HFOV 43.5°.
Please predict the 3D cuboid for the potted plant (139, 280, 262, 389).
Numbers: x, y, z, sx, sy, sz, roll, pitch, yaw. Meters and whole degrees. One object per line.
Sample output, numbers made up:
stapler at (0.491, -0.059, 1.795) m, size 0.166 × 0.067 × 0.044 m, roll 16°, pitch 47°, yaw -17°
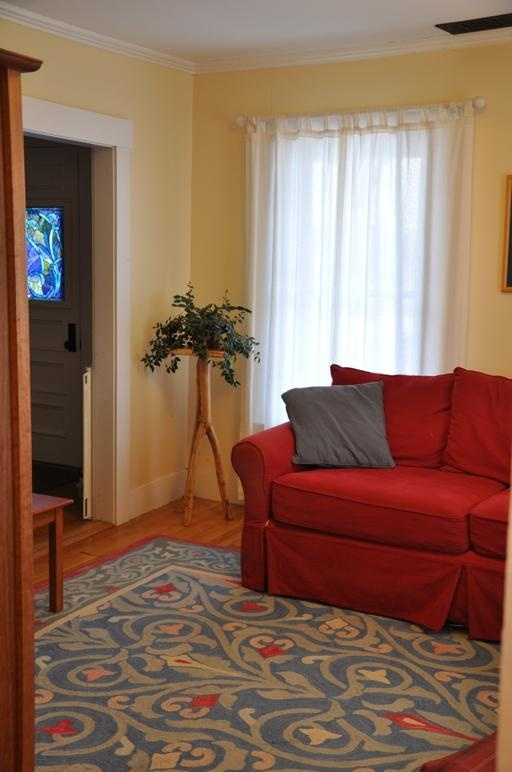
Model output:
potted plant at (-0.338, -0.308, 4.026) m, size 0.732 × 0.621 × 0.633 m, roll 4°, pitch 4°, yaw 3°
